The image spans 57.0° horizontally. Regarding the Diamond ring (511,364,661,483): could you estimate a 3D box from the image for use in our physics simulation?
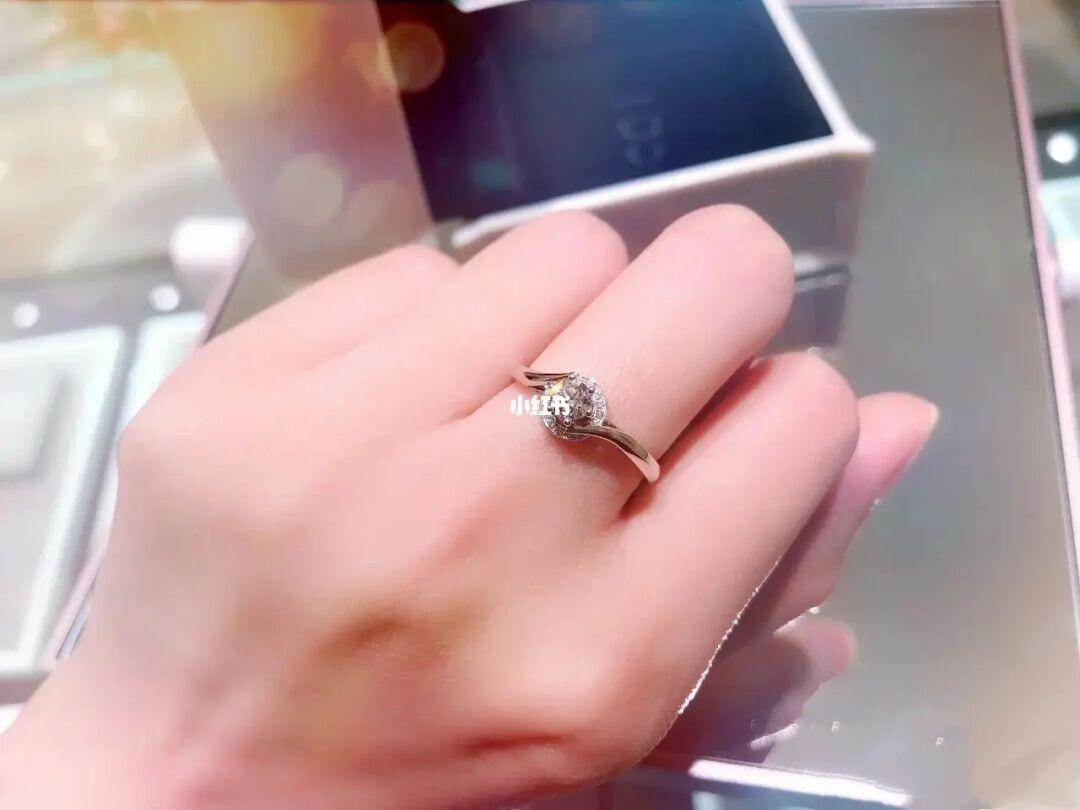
[{"bbox_3d":[0.069,0.029,1.409,0.216,0.146,0.086,18,70,20],"label":"Diamond ring"}]
